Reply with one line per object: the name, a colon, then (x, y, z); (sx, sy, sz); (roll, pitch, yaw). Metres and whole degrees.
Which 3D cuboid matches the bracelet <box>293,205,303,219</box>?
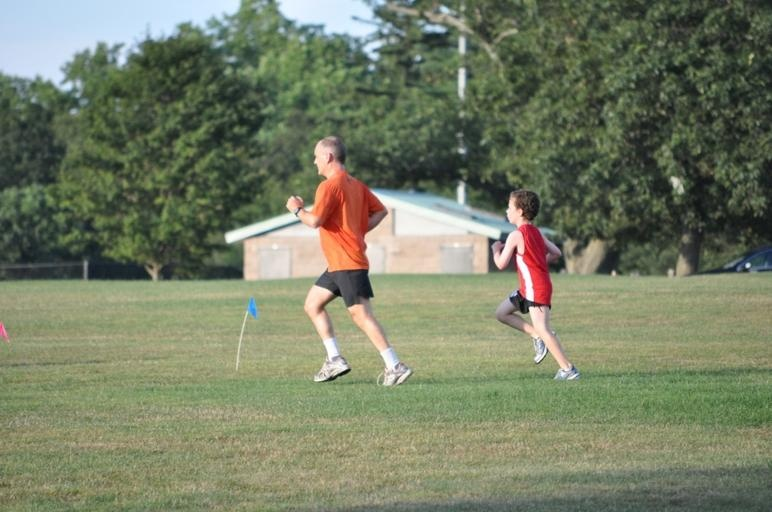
bracelet: (-2.376, -1.154, 47.384); (0.193, 0.266, 0.303); (21, 31, 30)
